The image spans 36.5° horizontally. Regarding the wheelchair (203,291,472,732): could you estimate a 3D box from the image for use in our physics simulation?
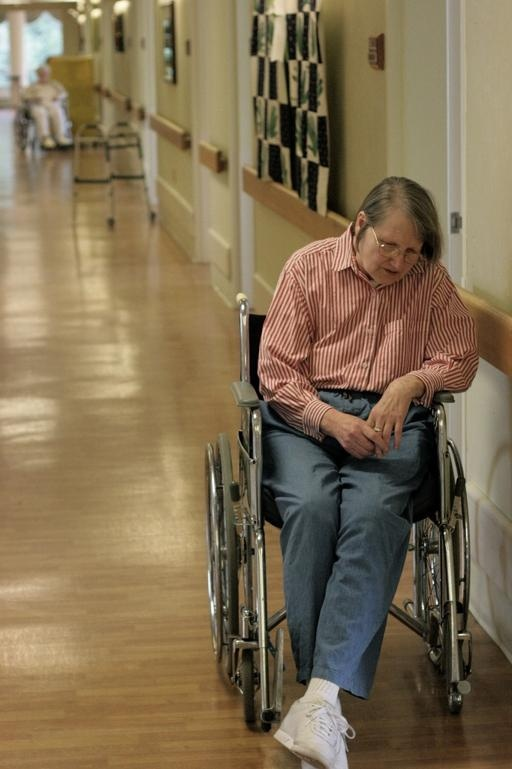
[{"bbox_3d":[0.186,0.253,1.538,0.558,0.859,0.667,-2,9,-7],"label":"wheelchair"}]
